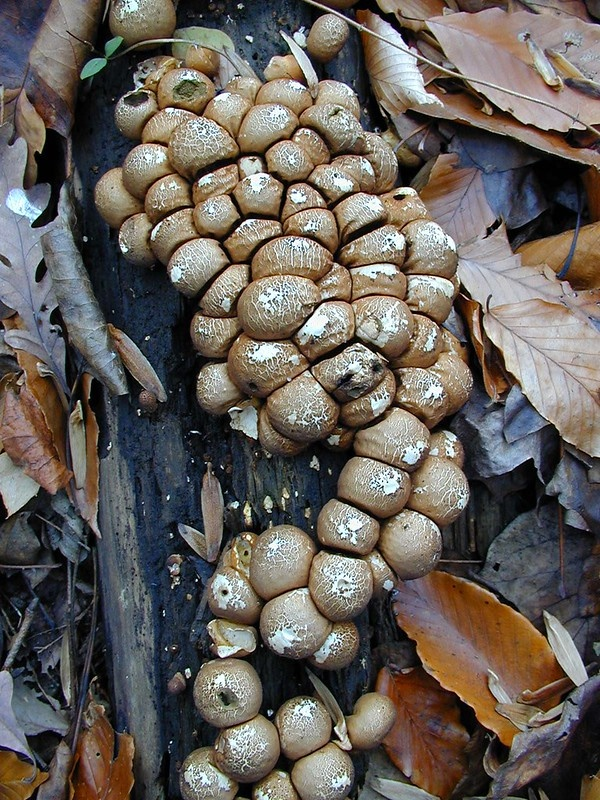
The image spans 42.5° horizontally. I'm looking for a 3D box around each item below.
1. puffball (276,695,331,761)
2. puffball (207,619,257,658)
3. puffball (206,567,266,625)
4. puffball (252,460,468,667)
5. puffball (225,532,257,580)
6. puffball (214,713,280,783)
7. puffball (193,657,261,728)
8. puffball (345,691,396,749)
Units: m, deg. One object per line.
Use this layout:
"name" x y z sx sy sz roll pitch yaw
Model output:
"puffball" 0.012 0.883 2.155 0.177 0.090 0.144 -5 37 13
"puffball" -0.198 0.672 2.183 0.120 0.046 0.109 39 79 1
"puffball" -0.191 0.513 2.152 0.118 0.140 0.082 0 26 11
"puffball" 0.144 0.389 2.110 0.695 0.316 0.360 -37 67 -19
"puffball" -0.179 0.450 2.251 0.045 0.087 0.105 21 19 -16
"puffball" -0.150 0.928 2.096 0.178 0.097 0.168 -13 78 3
"puffball" -0.199 0.790 2.076 0.193 0.103 0.162 -10 76 15
"puffball" 0.191 0.921 2.211 0.160 0.077 0.129 -35 40 13
